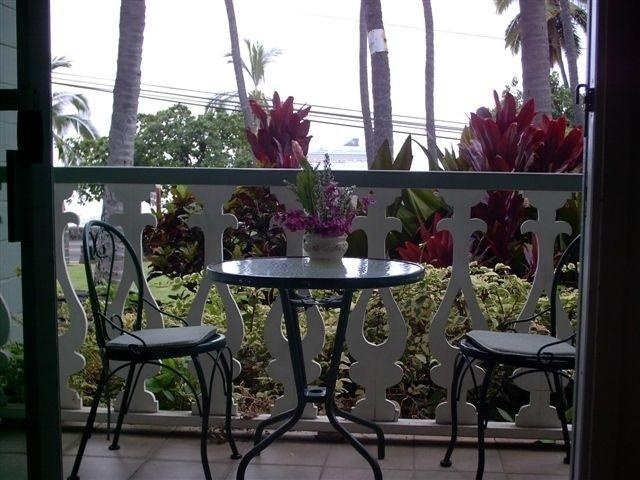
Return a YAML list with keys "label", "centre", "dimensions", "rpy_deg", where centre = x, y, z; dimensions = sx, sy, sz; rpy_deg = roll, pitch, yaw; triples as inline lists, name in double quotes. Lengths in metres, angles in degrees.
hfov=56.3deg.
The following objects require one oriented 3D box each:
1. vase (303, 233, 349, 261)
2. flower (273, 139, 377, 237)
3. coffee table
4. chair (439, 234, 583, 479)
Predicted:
- label: "vase"
  centre: [0.021, 0.050, 2.630]
  dimensions: [0.130, 0.090, 0.129]
  rpy_deg: [2, -6, -21]
- label: "flower"
  centre: [0.052, -0.218, 2.636]
  dimensions: [0.359, 0.476, 0.324]
  rpy_deg: [3, 4, -21]
- label: "coffee table"
  centre: [0.046, 0.453, 2.694]
  dimensions: [0.821, 1.032, 0.933]
  rpy_deg: [1, 4, 8]
- label: "chair"
  centre: [0.822, 0.500, 2.617]
  dimensions: [0.545, 1.047, 0.902]
  rpy_deg: [3, 5, 23]
